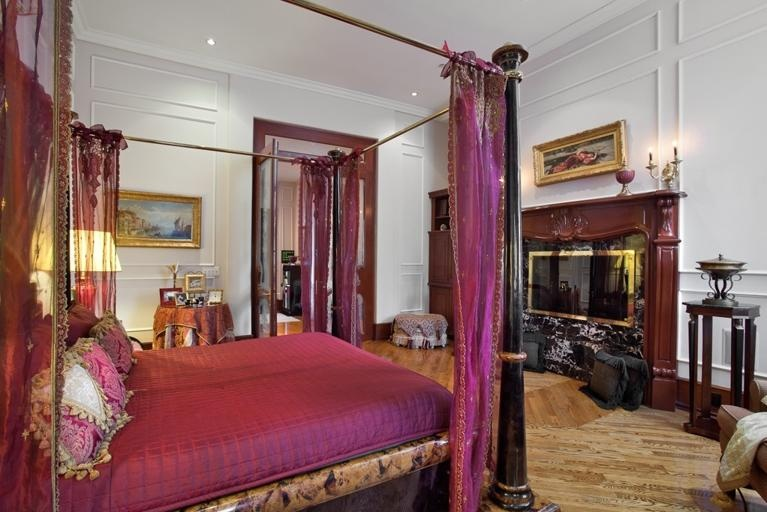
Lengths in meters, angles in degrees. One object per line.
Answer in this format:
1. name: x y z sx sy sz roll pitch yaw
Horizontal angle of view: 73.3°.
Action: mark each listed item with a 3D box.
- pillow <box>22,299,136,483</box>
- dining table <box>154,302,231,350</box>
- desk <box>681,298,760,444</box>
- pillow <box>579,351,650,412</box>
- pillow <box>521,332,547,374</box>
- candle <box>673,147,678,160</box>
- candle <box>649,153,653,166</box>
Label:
1. pillow: -2.005 0.861 3.498 0.502 0.716 1.153 -7 15 -21
2. dining table: -2.185 0.792 5.858 0.576 0.434 0.601 -8 -10 39
3. desk: 2.967 0.999 4.606 0.582 1.165 0.545 7 16 32
4. pillow: 2.355 1.268 5.291 0.472 0.488 0.511 8 -1 -24
5. pillow: 1.813 1.140 6.227 0.256 0.398 0.362 2 14 15
6. candle: 2.917 -1.036 5.148 0.052 0.131 0.150 5 16 27
7. candle: 2.740 -1.018 5.296 0.041 0.116 0.157 5 16 26
